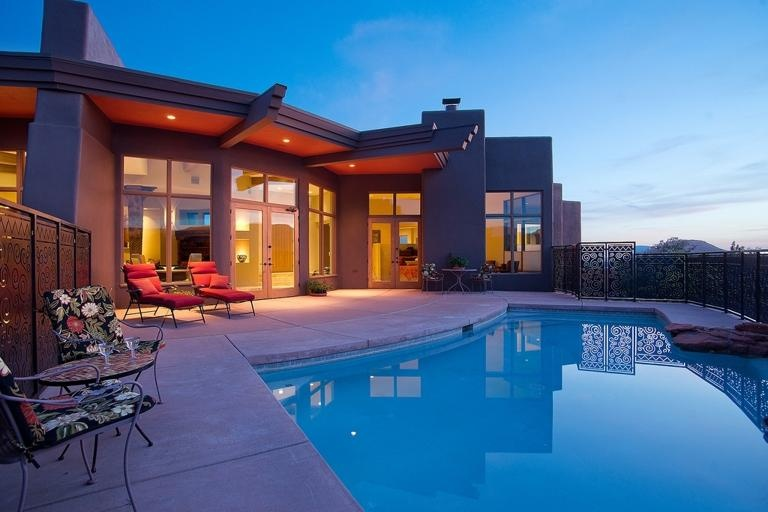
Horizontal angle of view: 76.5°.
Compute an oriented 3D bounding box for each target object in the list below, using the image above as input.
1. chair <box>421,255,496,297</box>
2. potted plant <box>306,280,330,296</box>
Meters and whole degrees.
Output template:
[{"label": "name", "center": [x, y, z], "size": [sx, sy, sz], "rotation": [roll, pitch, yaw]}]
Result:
[{"label": "chair", "center": [2.497, 0.672, 17.088], "size": [2.414, 1.165, 1.141], "rotation": [-2, 0, 6]}, {"label": "potted plant", "center": [-2.201, 1.049, 16.196], "size": [0.511, 0.383, 0.553], "rotation": [0, -2, 7]}]
